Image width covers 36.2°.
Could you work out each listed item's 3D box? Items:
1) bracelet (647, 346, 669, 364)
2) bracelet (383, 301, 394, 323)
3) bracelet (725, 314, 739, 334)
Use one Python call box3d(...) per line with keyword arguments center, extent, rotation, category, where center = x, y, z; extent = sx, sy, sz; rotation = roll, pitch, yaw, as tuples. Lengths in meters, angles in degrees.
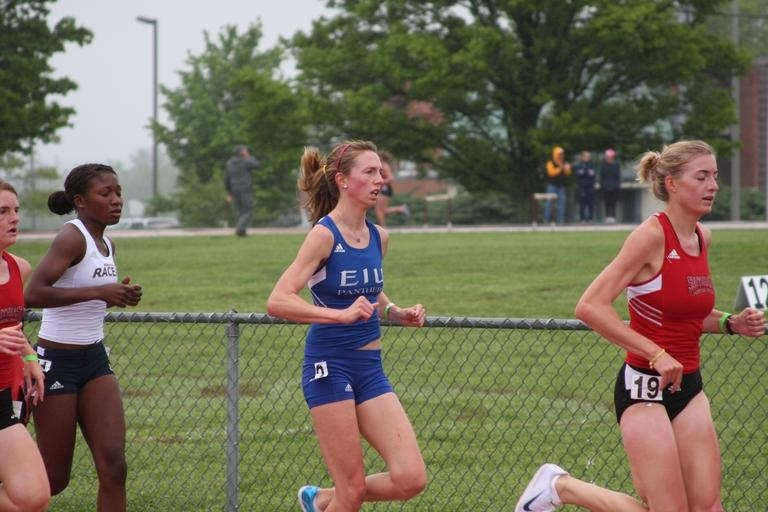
box3d(center=(2.307, 0.825, 9.860), extent=(0.034, 0.119, 0.122), rotation=(38, 49, 9), category="bracelet")
box3d(center=(0.031, 0.483, 10.574), extent=(0.097, 0.142, 0.150), rotation=(-1, 15, -22), category="bracelet")
box3d(center=(3.013, 0.591, 10.245), extent=(0.092, 0.112, 0.154), rotation=(-8, 30, -5), category="bracelet")
